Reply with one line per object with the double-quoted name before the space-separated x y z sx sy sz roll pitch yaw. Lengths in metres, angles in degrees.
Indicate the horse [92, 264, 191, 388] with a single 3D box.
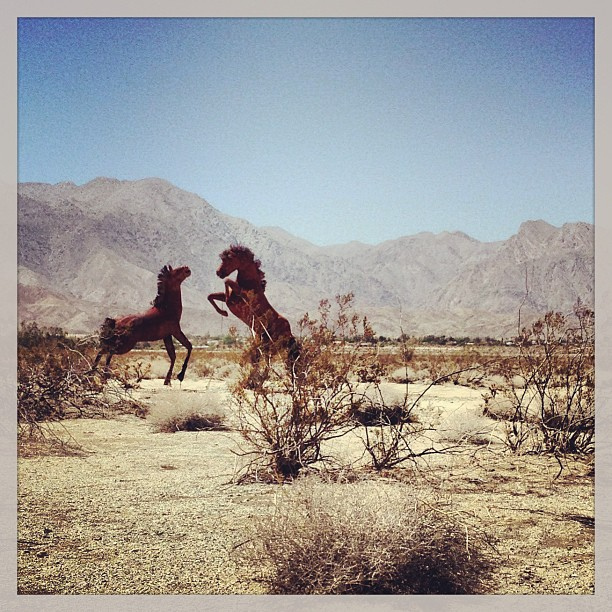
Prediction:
"horse" -2.134 0.368 9.780 0.445 1.670 2.155 -9 2 28
